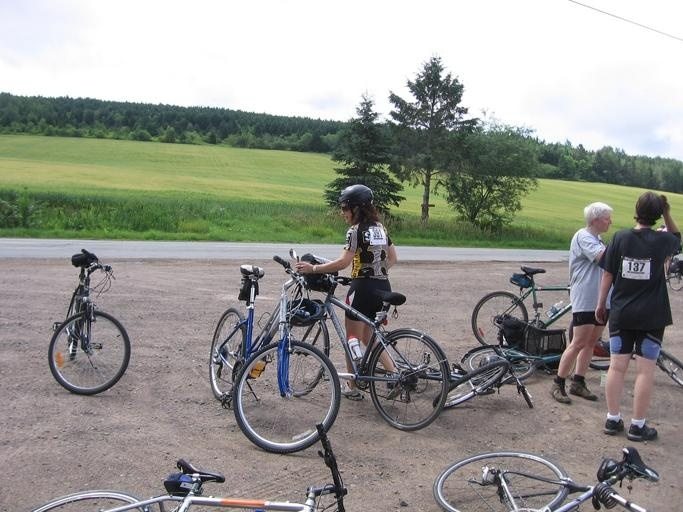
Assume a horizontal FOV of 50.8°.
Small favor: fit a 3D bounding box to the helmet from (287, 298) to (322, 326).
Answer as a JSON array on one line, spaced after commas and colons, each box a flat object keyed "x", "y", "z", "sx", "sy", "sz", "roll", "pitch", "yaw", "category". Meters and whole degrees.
[{"x": -0.428, "y": 0.667, "z": 8.538, "sx": 0.462, "sy": 0.323, "sz": 0.265, "roll": -1, "pitch": 9, "yaw": -22, "category": "helmet"}]

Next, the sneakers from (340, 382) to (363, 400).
[{"x": 0.122, "y": 1.727, "z": 9.078, "sx": 0.339, "sy": 0.159, "sz": 0.133, "roll": 21, "pitch": 10, "yaw": 26, "category": "sneakers"}]

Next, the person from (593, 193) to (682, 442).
[{"x": 3.362, "y": 0.680, "z": 8.260, "sx": 0.786, "sy": 2.785, "sz": 0.637, "roll": 6, "pitch": 9, "yaw": 20, "category": "person"}]

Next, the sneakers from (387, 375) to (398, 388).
[{"x": 0.596, "y": 1.458, "z": 8.380, "sx": 0.133, "sy": 0.232, "sz": 0.127, "roll": -1, "pitch": 21, "yaw": 3, "category": "sneakers"}]

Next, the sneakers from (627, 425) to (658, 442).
[{"x": 3.410, "y": 2.011, "z": 8.204, "sx": 0.406, "sy": 0.193, "sz": 0.150, "roll": -3, "pitch": 4, "yaw": -22, "category": "sneakers"}]

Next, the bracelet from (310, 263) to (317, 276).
[{"x": -0.317, "y": 0.153, "z": 8.503, "sx": 0.066, "sy": 0.098, "sz": 0.091, "roll": 3, "pitch": -3, "yaw": 3, "category": "bracelet"}]

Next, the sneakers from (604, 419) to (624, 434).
[{"x": 3.160, "y": 1.979, "z": 8.360, "sx": 0.108, "sy": 0.128, "sz": 0.302, "roll": -1, "pitch": 2, "yaw": 36, "category": "sneakers"}]

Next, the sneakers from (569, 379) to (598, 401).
[{"x": 3.150, "y": 1.740, "z": 9.250, "sx": 0.426, "sy": 0.233, "sz": 0.151, "roll": 5, "pitch": 6, "yaw": -1, "category": "sneakers"}]

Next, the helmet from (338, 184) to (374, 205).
[{"x": 0.162, "y": -0.719, "z": 8.799, "sx": 0.337, "sy": 0.205, "sz": 0.259, "roll": -6, "pitch": 19, "yaw": -12, "category": "helmet"}]
